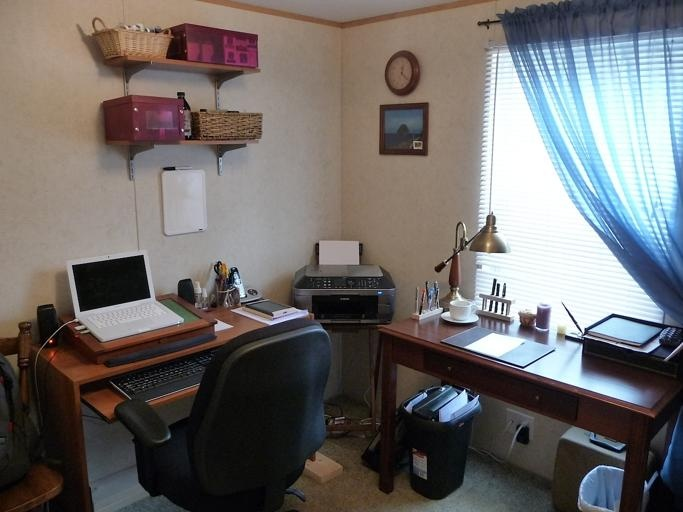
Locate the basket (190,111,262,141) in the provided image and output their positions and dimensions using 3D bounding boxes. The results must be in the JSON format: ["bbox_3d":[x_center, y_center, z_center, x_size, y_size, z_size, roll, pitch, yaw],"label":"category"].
[{"bbox_3d":[-0.640,-0.744,3.078,0.249,0.110,0.253,-2,6,-12],"label":"basket"}]

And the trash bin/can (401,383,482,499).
[{"bbox_3d":[0.570,1.098,3.255,0.448,0.571,0.420,-8,13,-34],"label":"trash bin/can"}]

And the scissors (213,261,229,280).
[{"bbox_3d":[-0.741,0.083,3.395,0.054,0.108,0.078,-36,14,-37],"label":"scissors"}]

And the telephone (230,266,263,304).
[{"bbox_3d":[-0.620,0.167,3.438,0.180,0.211,0.217,-6,4,16],"label":"telephone"}]

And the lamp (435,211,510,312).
[{"bbox_3d":[0.731,0.028,3.245,0.370,0.625,0.630,-2,14,1],"label":"lamp"}]

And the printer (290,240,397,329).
[{"bbox_3d":[0.037,0.108,3.712,0.586,0.437,0.603,0,11,0],"label":"printer"}]

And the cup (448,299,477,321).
[{"bbox_3d":[0.705,0.314,3.141,0.148,0.094,0.117,-5,7,-42],"label":"cup"}]

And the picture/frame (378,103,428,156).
[{"bbox_3d":[0.424,-0.862,3.637,0.349,0.362,0.027,7,10,34],"label":"picture/frame"}]

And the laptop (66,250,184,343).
[{"bbox_3d":[-1.113,0.186,2.812,0.469,0.301,0.444,17,20,40],"label":"laptop"}]

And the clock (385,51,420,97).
[{"bbox_3d":[0.406,-1.213,3.581,0.052,0.324,0.301,-4,7,-41],"label":"clock"}]

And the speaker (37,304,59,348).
[{"bbox_3d":[-1.479,0.350,2.734,0.106,0.198,0.045,3,2,-42],"label":"speaker"}]
